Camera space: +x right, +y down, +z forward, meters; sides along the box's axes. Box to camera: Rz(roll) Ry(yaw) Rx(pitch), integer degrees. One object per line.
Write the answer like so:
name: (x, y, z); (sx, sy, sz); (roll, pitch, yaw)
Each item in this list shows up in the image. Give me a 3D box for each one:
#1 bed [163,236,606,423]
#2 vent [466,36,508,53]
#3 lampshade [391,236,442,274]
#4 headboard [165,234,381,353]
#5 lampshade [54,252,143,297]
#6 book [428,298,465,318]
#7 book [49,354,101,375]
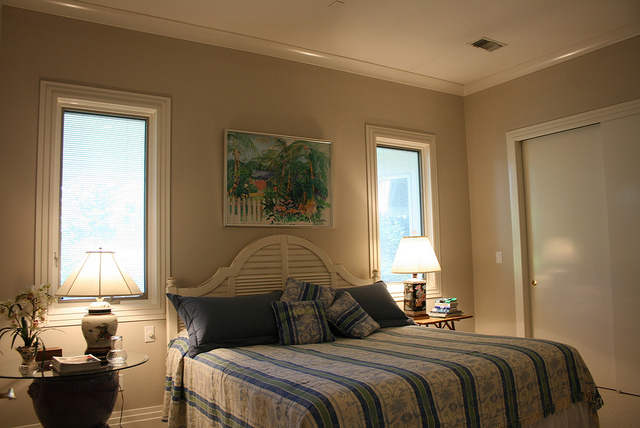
bed: (0.276, 1.007, 4.062); (3.102, 1.506, 2.200); (-1, 0, -25)
vent: (1.874, -1.913, 5.102); (0.417, 0.054, 0.214); (-1, 1, -30)
lampshade: (1.146, 0.566, 5.465); (0.625, 0.577, 0.619); (-2, -3, -8)
headboard: (-0.375, 0.929, 4.872); (2.596, 1.414, 0.105); (1, -12, -31)
lampshade: (-1.970, 0.481, 4.054); (0.648, 0.404, 0.654); (3, 8, -30)
book: (1.495, 1.140, 5.454); (0.296, 0.133, 0.275); (-1, -1, 22)
book: (-1.886, 1.166, 3.503); (0.348, 0.121, 0.187); (-1, 0, -22)
